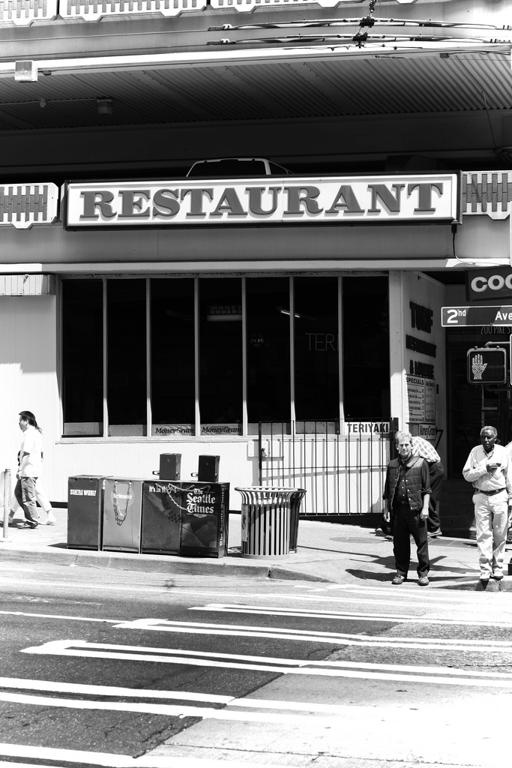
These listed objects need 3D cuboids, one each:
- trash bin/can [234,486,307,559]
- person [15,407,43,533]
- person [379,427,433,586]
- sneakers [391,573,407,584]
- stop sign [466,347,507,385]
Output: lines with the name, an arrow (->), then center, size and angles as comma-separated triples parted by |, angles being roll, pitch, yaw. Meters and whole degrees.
trash bin/can -> 0.152, 1.574, 15.756 | 0.626, 0.702, 0.707 | 0, -2, 28
person -> -3.055, 1.194, 18.453 | 0.332, 1.570, 0.499 | 1, -4, -13
person -> 1.651, 1.376, 14.767 | 0.397, 1.644, 0.650 | 2, -5, -26
sneakers -> 1.542, 2.132, 14.799 | 0.069, 0.118, 0.230 | 0, -11, 14
stop sign -> 2.583, -0.194, 15.328 | 0.438, 0.434, 0.551 | -1, -5, 10
